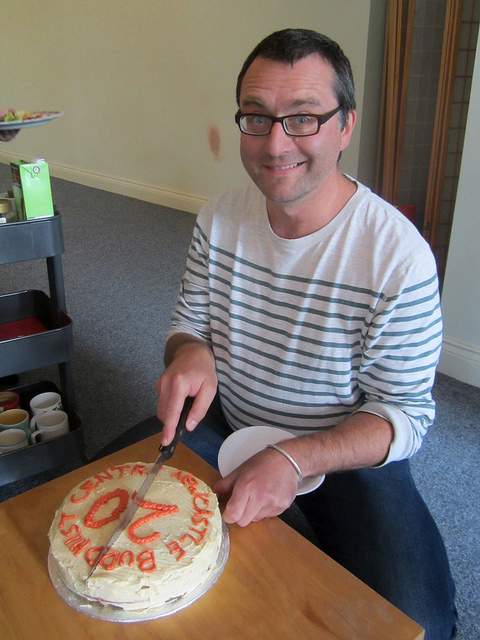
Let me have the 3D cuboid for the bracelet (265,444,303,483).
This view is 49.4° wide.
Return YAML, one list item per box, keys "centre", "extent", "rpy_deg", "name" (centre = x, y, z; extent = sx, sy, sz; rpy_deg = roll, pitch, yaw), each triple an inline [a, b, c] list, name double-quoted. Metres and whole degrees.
- centre: [0.082, 0.251, 0.890]
  extent: [0.059, 0.015, 0.062]
  rpy_deg: [44, 8, -15]
  name: "bracelet"

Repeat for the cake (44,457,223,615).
- centre: [-0.155, 0.309, 0.785]
  extent: [0.227, 0.057, 0.228]
  rpy_deg: [14, 31, 3]
  name: "cake"

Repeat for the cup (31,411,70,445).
- centre: [-0.578, 0.317, 1.587]
  extent: [0.070, 0.094, 0.111]
  rpy_deg: [22, 38, 32]
  name: "cup"

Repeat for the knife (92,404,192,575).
- centre: [-0.139, 0.237, 0.838]
  extent: [0.028, 0.038, 0.322]
  rpy_deg: [29, 50, -5]
  name: "knife"

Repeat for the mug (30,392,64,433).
- centre: [-0.620, 0.282, 1.648]
  extent: [0.078, 0.111, 0.120]
  rpy_deg: [4, 32, 9]
  name: "mug"
